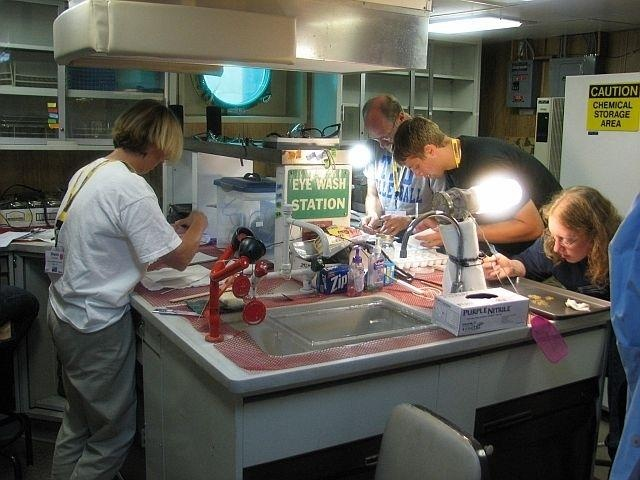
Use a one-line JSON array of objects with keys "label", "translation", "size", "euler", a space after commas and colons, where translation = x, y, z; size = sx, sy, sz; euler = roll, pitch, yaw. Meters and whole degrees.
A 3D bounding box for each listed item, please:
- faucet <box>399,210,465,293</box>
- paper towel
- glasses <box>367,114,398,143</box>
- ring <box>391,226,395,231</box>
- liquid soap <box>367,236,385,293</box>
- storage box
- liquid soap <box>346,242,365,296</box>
[{"label": "faucet", "translation": [0.456, 0.054, 2.034], "size": [0.283, 0.350, 0.125], "euler": [-8, 13, -27]}, {"label": "paper towel", "translation": [0.595, 0.114, 2.130], "size": [0.140, 0.369, 0.153], "euler": [-9, 4, -18]}, {"label": "glasses", "translation": [0.431, -0.768, 3.413], "size": [0.186, 0.103, 0.144], "euler": [-27, 13, -32]}, {"label": "ring", "translation": [0.405, -0.069, 2.813], "size": [0.024, 0.024, 0.006], "euler": [3, -10, -7]}, {"label": "liquid soap", "translation": [0.278, 0.107, 2.407], "size": [0.078, 0.226, 0.193], "euler": [3, 13, 22]}, {"label": "storage box", "translation": [-0.456, -0.152, 2.951], "size": [0.488, 0.431, 0.227], "euler": [5, 14, 30]}, {"label": "liquid soap", "translation": [0.167, 0.129, 2.372], "size": [0.080, 0.204, 0.231], "euler": [-1, 12, 5]}]
